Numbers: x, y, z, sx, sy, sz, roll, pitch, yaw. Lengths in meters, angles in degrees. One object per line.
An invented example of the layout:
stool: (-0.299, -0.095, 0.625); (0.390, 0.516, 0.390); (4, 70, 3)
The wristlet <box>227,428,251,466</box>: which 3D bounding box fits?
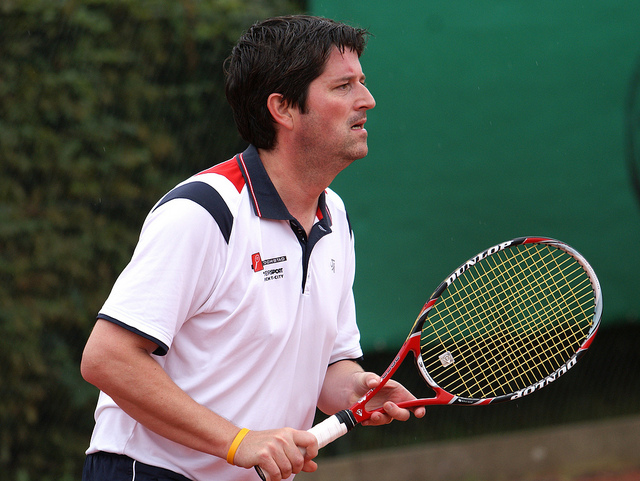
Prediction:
wristlet: (-0.293, 0.755, 2.892); (0.021, 0.102, 0.105); (15, -53, -6)
